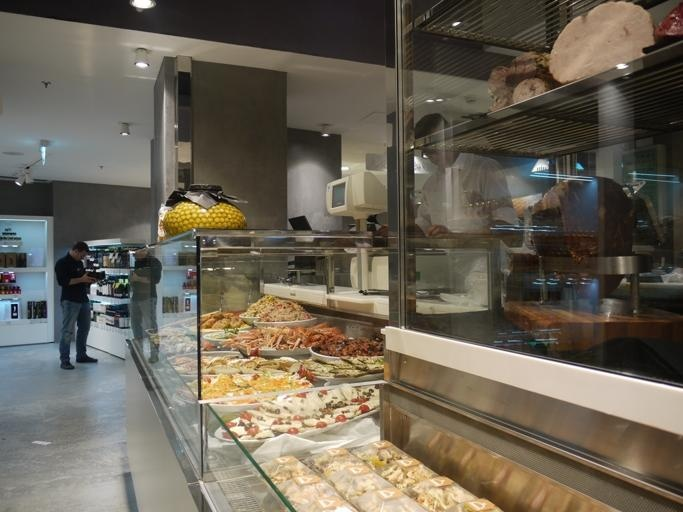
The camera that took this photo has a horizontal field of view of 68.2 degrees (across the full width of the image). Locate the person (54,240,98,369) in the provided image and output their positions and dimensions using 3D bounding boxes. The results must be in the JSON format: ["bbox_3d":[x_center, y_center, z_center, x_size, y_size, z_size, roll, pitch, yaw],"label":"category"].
[{"bbox_3d":[-3.489,0.609,6.599,0.494,1.603,0.902,1,-1,-27],"label":"person"}]

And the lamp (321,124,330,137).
[{"bbox_3d":[-0.163,-1.193,4.790,0.071,0.093,0.068,2,-3,-7],"label":"lamp"}]

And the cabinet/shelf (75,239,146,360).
[{"bbox_3d":[-2.886,0.558,6.163,0.542,1.597,1.786,1,-2,-33],"label":"cabinet/shelf"}]

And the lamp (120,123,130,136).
[{"bbox_3d":[-2.109,-1.223,4.890,0.101,0.093,0.102,2,2,40],"label":"lamp"}]

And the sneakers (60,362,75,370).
[{"bbox_3d":[-3.411,1.353,6.229,0.155,0.076,0.197,1,-1,-29],"label":"sneakers"}]
